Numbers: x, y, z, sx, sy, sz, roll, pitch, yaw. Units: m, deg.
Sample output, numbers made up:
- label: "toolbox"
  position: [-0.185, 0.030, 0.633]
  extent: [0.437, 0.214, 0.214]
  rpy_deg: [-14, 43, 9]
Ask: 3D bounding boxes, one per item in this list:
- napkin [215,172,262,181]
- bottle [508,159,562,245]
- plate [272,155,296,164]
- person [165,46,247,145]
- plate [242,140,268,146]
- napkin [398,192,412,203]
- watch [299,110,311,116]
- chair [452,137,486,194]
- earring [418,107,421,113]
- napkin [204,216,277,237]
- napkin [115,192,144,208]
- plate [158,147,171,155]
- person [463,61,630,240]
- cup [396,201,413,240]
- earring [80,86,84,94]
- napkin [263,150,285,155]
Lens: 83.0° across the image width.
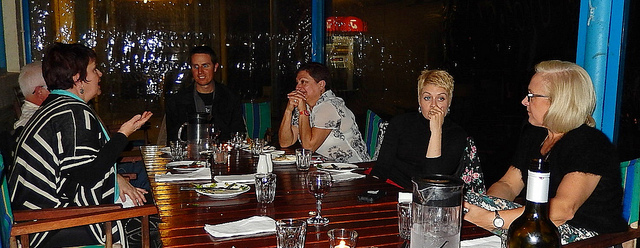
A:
- label: "napkin"
  position: [-0.975, 0.603, 4.111]
  extent: [0.428, 0.041, 0.134]
  rpy_deg: [-2, 8, -5]
- label: "bottle"
  position: [1.785, 0.646, 2.960]
  extent: [0.399, 0.736, 0.153]
  rpy_deg: [-5, 13, -12]
- label: "plate"
  position: [-0.460, 0.443, 4.626]
  extent: [0.290, 0.070, 0.235]
  rpy_deg: [-2, 7, -5]
- label: "person"
  position: [-1.886, -0.489, 5.792]
  extent: [1.245, 1.489, 0.443]
  rpy_deg: [-4, 12, -9]
- label: "plate"
  position: [-0.967, 0.277, 5.226]
  extent: [0.354, 0.037, 0.233]
  rpy_deg: [-1, 7, 7]
- label: "napkin"
  position: [0.837, 0.712, 3.579]
  extent: [0.191, 0.092, 0.085]
  rpy_deg: [1, 8, -1]
- label: "watch"
  position: [-0.203, -0.157, 5.193]
  extent: [0.108, 0.044, 0.101]
  rpy_deg: [-7, -9, 41]
- label: "chair"
  position: [1.732, 0.469, 4.146]
  extent: [0.322, 0.613, 0.370]
  rpy_deg: [-4, 11, -4]
- label: "earring"
  position: [1.228, -0.165, 4.438]
  extent: [0.019, 0.075, 0.041]
  rpy_deg: [-4, 11, -5]
- label: "napkin"
  position: [-0.756, 0.964, 3.426]
  extent: [0.641, 0.125, 0.162]
  rpy_deg: [-3, 9, -9]
- label: "napkin"
  position: [-2.338, 0.926, 4.437]
  extent: [0.271, 0.176, 0.190]
  rpy_deg: [3, 12, -29]
- label: "plate"
  position: [-2.129, 0.362, 4.970]
  extent: [0.176, 0.048, 0.116]
  rpy_deg: [2, 5, 21]
- label: "person"
  position: [2.467, 0.235, 3.666]
  extent: [1.228, 1.739, 0.764]
  rpy_deg: [5, 14, 33]
- label: "cup"
  position: [0.792, 0.893, 3.383]
  extent: [0.117, 0.334, 0.163]
  rpy_deg: [0, 12, 13]
- label: "earring"
  position: [-2.797, -0.387, 4.239]
  extent: [0.040, 0.066, 0.009]
  rpy_deg: [-8, 14, -26]
- label: "napkin"
  position: [-0.578, 0.373, 4.828]
  extent: [0.216, 0.025, 0.177]
  rpy_deg: [-4, 8, -21]
